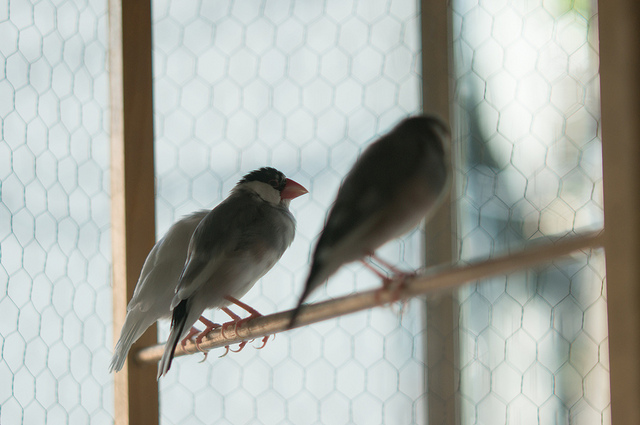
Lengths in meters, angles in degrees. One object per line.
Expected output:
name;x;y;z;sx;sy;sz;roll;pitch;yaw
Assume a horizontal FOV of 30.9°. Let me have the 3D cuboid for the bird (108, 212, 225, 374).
bird;-0.488;0.230;3.574;0.227;0.545;0.114;9;-15;3
